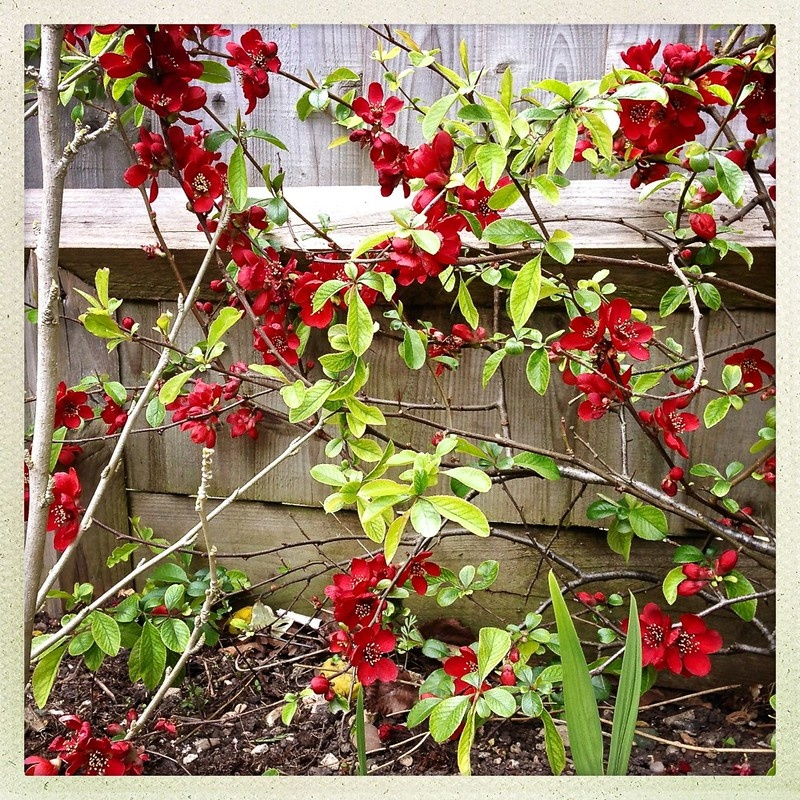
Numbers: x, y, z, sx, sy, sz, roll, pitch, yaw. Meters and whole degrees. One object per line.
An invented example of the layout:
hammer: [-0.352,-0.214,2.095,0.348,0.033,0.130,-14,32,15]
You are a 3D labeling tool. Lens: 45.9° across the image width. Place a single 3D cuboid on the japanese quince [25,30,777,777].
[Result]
japanese quince: [-0.008,-0.069,1.770,1.367,0.931,0.946,3,2,20]
